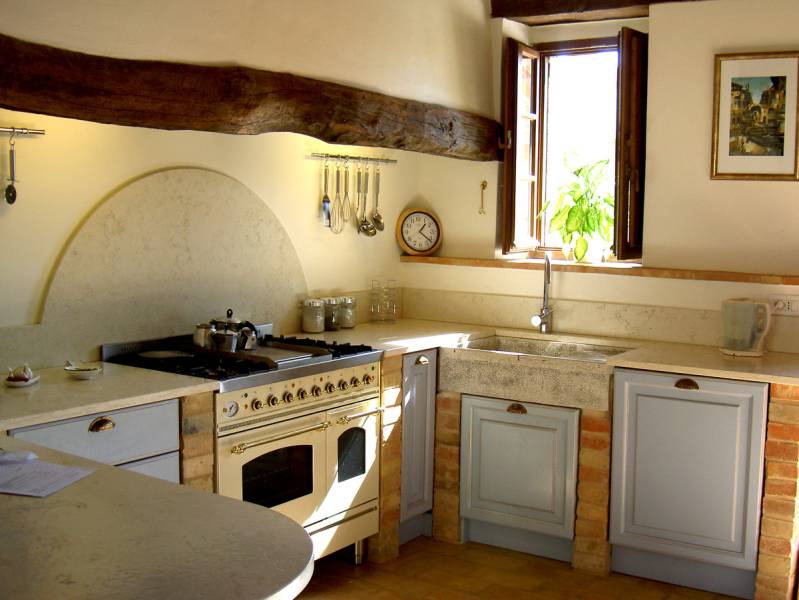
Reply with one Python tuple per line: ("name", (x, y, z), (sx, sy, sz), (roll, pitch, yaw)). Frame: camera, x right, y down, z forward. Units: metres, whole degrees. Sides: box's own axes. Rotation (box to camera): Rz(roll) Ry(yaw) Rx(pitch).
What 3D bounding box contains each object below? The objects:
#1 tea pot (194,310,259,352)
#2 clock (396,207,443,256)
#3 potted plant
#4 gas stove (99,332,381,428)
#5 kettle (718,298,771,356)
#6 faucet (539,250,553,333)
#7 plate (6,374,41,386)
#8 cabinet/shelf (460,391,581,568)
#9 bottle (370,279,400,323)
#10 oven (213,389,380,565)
("tea pot", (-0.863, 0.142, 3.063), (0.269, 0.167, 0.194), (-1, 5, -29))
("clock", (0.128, -0.494, 4.526), (0.334, 0.317, 0.323), (-1, 0, -15))
("potted plant", (1.266, -0.637, 4.385), (0.319, 0.711, 0.421), (-1, 6, -27))
("gas stove", (-0.747, 0.349, 3.130), (0.683, 0.307, 1.205), (7, 8, 41))
("kettle", (1.907, 0.149, 3.405), (0.307, 0.350, 0.204), (3, 3, 40))
("faucet", (0.954, -0.035, 4.026), (0.082, 0.501, 0.170), (3, 6, 18))
("plate", (-1.501, 0.316, 2.469), (0.124, 0.041, 0.103), (-3, 8, -39))
("cabinet/shelf", (0.761, 0.999, 3.773), (0.660, 0.852, 0.588), (3, 3, 20))
("bottle", (-0.078, -0.008, 4.397), (0.163, 0.288, 0.392), (5, 7, 28))
("oven", (-0.544, 0.906, 3.184), (0.484, 0.802, 1.006), (0, 2, 40))
